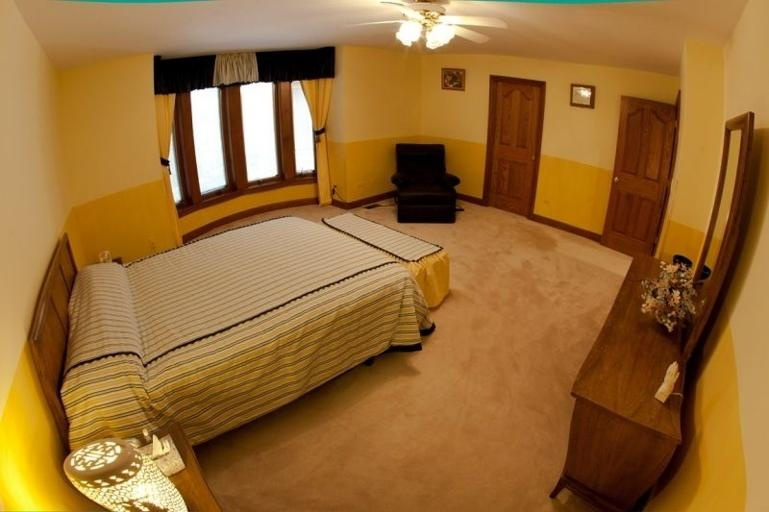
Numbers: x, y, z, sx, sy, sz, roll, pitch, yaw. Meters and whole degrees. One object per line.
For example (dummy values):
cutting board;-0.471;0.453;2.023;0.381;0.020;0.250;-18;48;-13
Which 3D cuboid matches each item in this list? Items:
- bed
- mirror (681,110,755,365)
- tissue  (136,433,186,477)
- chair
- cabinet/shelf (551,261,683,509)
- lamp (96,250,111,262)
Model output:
bed;-1.251;0.515;4.906;3.183;1.125;1.851;-13;24;-29
mirror;2.293;-0.076;3.491;0.233;1.715;0.875;12;25;31
tissue ;-1.427;1.290;3.356;0.204;0.083;0.277;-23;62;-42
chair;0.610;-1.123;7.859;1.031;1.176;1.193;-1;18;-1
cabinet/shelf;1.680;1.159;3.699;0.701;1.129;0.771;9;23;24
lamp;-2.839;-0.009;5.181;0.087;0.103;0.041;-1;-14;14
